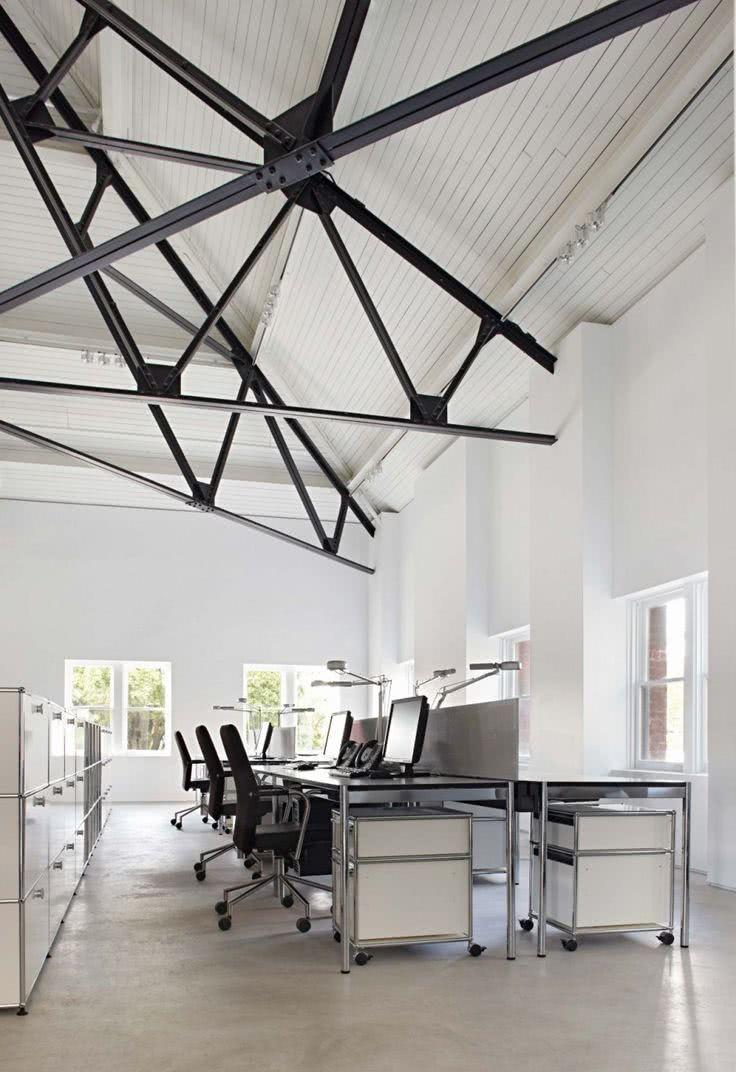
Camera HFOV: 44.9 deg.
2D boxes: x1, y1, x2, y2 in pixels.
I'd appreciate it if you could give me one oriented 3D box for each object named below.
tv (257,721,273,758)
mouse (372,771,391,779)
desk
[{"bbox_3d":[-1.004,2.050,8.661,0.104,0.311,0.423,12,-1,-9],"label":"tv"},{"bbox_3d":[0.064,1.112,4.055,0.068,0.019,0.067,1,-6,-7],"label":"mouse"},{"bbox_3d":[0.500,1.248,3.321,1.441,0.640,0.810,3,-9,-2],"label":"desk"}]
